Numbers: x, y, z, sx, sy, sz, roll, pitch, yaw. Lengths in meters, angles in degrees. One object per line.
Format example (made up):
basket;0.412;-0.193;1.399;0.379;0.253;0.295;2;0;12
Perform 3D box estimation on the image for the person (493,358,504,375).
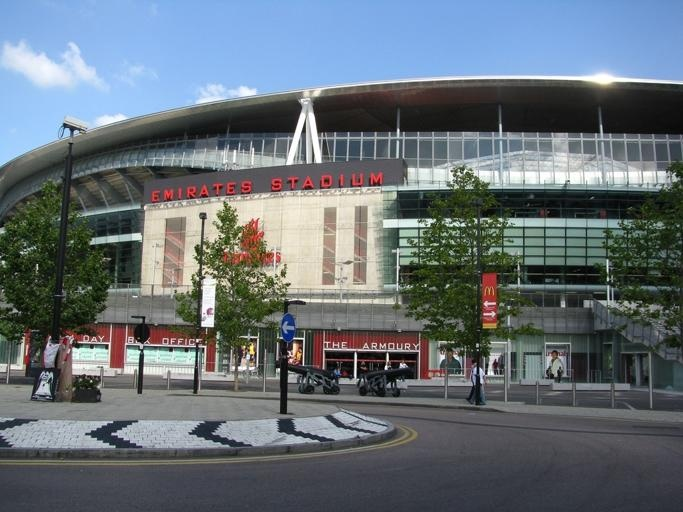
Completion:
person;13.050;8.998;53.350;0.852;1.488;0.357;2;-9;-2
